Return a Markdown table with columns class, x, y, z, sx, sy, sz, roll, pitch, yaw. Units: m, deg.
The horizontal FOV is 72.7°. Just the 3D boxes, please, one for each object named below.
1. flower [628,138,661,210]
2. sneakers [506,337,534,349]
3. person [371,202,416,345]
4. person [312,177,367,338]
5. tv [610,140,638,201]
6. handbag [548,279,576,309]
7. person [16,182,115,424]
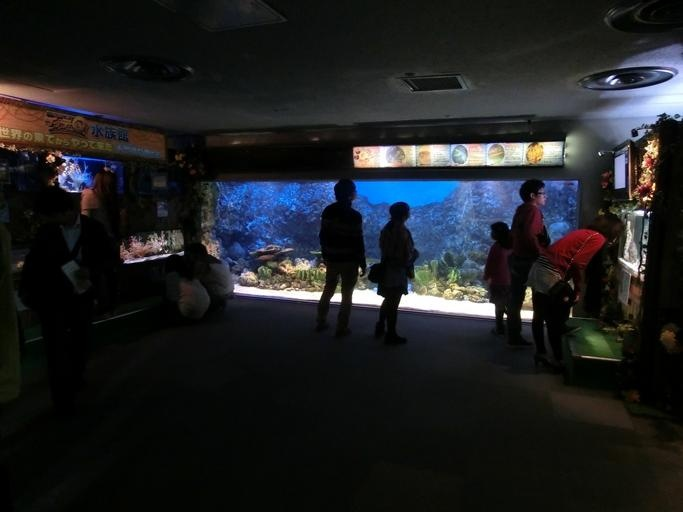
| class | x | y | z | sx | sy | sz | roll | pitch | yaw |
| --- | --- | --- | --- | --- | --- | --- | --- | --- | --- |
| flower | 3.585 | -0.921 | 5.454 | 0.315 | 0.672 | 0.692 | -2 | -32 | 33 |
| sneakers | 2.555 | 1.221 | 6.650 | 0.367 | 0.224 | 0.131 | -3 | 2 | -6 |
| person | 0.794 | 0.244 | 6.790 | 0.603 | 2.038 | 0.588 | 1 | 8 | 6 |
| person | -0.012 | 0.041 | 7.010 | 0.718 | 2.339 | 0.567 | 0 | 8 | 1 |
| tv | 3.968 | -1.176 | 6.509 | 0.150 | 0.734 | 1.016 | -1 | 5 | 20 |
| handbag | 2.692 | 0.453 | 5.669 | 0.244 | 0.340 | 0.191 | -19 | 11 | 28 |
| person | -2.843 | 0.482 | 4.845 | 0.829 | 2.341 | 0.339 | -6 | 9 | -35 |
